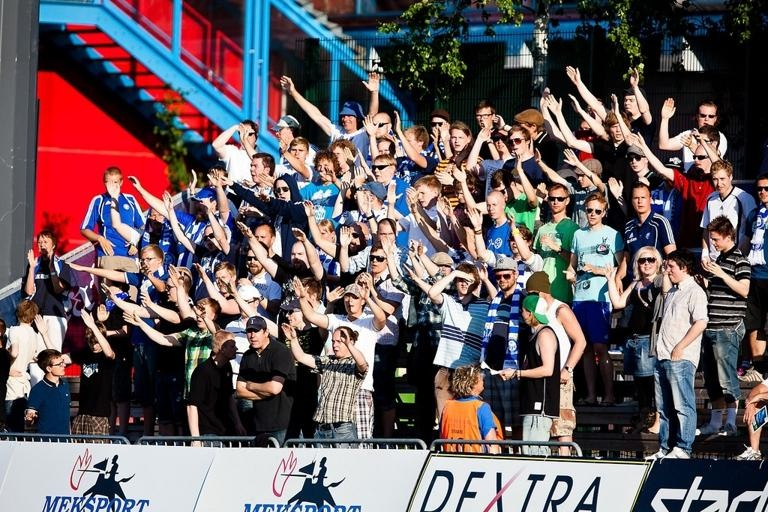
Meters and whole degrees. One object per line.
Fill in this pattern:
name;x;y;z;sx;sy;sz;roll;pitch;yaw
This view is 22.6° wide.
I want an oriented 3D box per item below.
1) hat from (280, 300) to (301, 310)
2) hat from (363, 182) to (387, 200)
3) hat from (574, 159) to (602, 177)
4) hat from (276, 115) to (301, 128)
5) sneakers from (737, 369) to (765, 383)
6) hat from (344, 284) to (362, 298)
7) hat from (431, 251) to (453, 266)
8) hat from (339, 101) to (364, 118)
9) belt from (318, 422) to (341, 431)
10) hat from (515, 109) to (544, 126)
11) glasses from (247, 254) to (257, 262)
hat;-1.309;0.673;26.589;0.202;0.084;0.137;3;-4;4
hat;-0.119;-0.938;27.158;0.447;0.270;0.131;7;-12;-42
hat;2.921;-1.278;27.350;0.391;0.292;0.456;-2;-9;4
hat;-1.465;-2.081;29.524;0.303;0.185;0.223;8;-1;-20
sneakers;5.039;1.649;26.221;0.403;0.195;0.143;2;-5;-10
hat;-0.436;0.455;25.815;0.306;0.192;0.124;-7;-11;33
hat;0.776;0.031;26.098;0.164;0.105;0.225;-5;17;-44
hat;-0.491;-2.276;29.515;0.345;0.341;0.354;-1;-9;1
belt;-0.726;2.269;25.392;0.314;0.094;0.031;-5;-10;21
hat;2.151;-2.076;28.185;0.333;0.183;0.244;10;-1;-21
glasses;-1.886;0.014;27.079;0.079;0.105;0.230;5;-11;-32
